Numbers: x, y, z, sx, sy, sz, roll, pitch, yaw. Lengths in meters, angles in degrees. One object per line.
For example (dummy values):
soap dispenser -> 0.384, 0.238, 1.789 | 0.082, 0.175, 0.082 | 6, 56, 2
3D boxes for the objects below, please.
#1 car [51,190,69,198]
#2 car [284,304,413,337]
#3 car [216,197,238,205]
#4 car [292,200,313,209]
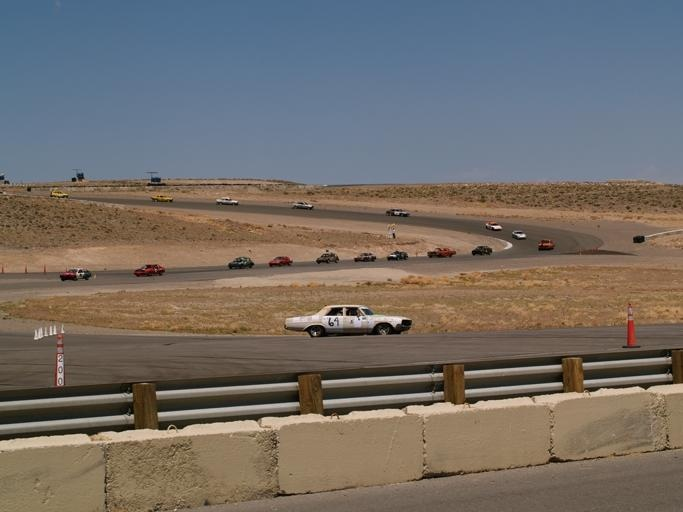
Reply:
car -> -38.062, -8.367, 122.277 | 2.049, 0.819, 3.336 | -6, 7, -42
car -> 0.290, 2.056, 28.695 | 4.007, 0.608, 1.297 | -1, 0, 5
car -> -17.021, -8.124, 134.007 | 3.726, 0.847, 1.618 | 1, 12, 4
car -> -5.676, -7.471, 131.439 | 3.177, 0.721, 1.425 | 0, 12, 6
